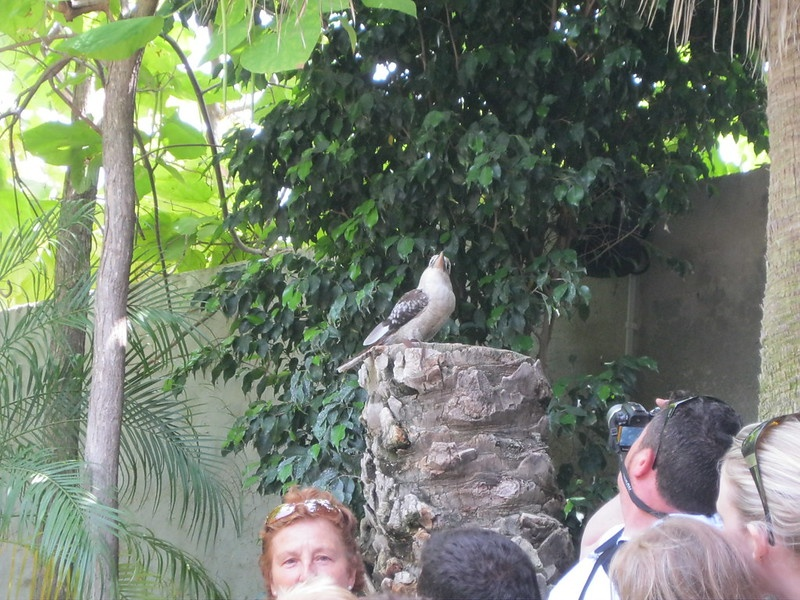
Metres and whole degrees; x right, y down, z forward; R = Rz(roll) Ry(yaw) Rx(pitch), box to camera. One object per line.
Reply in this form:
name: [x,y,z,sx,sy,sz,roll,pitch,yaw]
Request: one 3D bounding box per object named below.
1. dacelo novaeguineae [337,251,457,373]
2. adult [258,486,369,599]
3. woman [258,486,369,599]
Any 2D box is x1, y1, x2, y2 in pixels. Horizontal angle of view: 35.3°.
dacelo novaeguineae: [-0.006,0.090,7.913,0.979,0.587,0.308,-17,-7,42]
adult: [-0.456,1.249,6.515,0.421,0.727,0.543,-4,-31,-1]
woman: [-0.386,1.276,6.590,0.421,0.727,0.543,-4,-31,-1]
